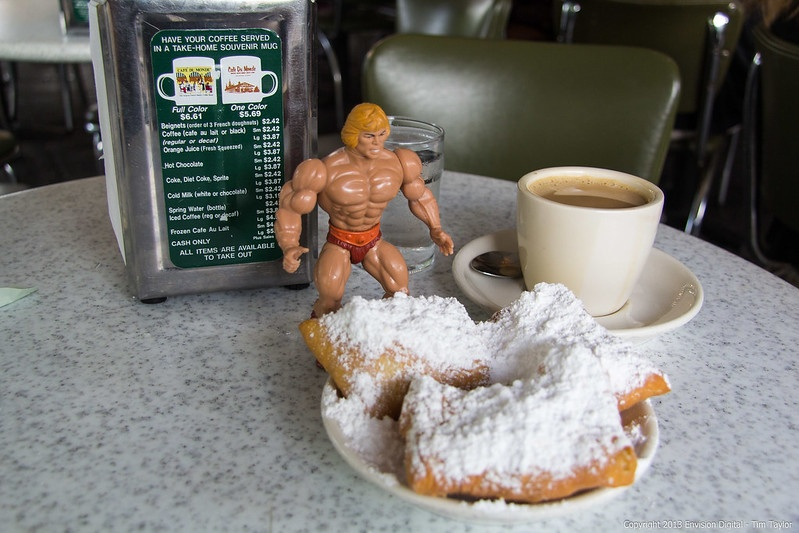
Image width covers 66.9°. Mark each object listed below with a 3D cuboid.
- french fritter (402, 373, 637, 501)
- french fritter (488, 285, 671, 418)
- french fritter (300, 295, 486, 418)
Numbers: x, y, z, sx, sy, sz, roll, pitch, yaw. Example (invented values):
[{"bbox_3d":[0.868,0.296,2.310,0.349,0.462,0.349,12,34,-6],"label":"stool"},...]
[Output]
[{"bbox_3d":[0.100,0.153,0.525,0.133,0.039,0.133,6,21,9],"label":"french fritter"},{"bbox_3d":[0.178,0.085,0.622,0.173,0.046,0.184,3,15,22],"label":"french fritter"},{"bbox_3d":[0.024,0.076,0.655,0.207,0.057,0.167,-8,25,-26],"label":"french fritter"}]
